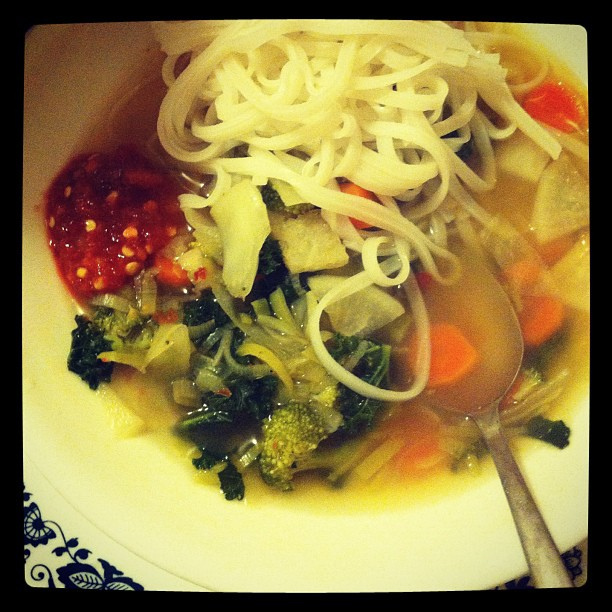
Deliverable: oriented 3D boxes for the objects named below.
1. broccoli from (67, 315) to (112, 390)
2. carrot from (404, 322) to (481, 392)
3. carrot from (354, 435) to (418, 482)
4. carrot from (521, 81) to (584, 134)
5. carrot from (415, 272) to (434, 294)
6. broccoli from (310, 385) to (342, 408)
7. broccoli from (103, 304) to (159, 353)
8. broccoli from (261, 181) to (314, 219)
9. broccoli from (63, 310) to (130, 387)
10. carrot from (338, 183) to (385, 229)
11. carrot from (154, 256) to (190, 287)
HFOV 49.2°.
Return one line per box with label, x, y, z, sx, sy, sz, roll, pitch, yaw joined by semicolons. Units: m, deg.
broccoli;-0.681;0.146;2.125;0.059;0.220;0.162;30;61;15
carrot;0.381;0.152;2.000;0.254;0.047;0.178;0;94;3
carrot;0.245;0.466;2.074;0.177;0.050;0.039;-30;92;-7
carrot;0.764;-0.627;2.123;0.197;0.038;0.131;37;90;-8
carrot;0.368;-0.075;2.105;0.063;0.067;0.044;14;86;2
broccoli;0.065;0.269;2.027;0.067;0.043;0.067;-38;55;-26
broccoli;-0.528;0.054;2.047;0.174;0.068;0.143;12;103;3
broccoli;-0.053;-0.325;2.033;0.134;0.092;0.041;27;27;-3
broccoli;-0.646;0.096;2.087;0.217;0.053;0.195;26;52;0
carrot;0.160;-0.302;2.033;0.137;0.104;0.105;8;50;12
carrot;-0.417;-0.102;2.041;0.070;0.074;0.103;-36;55;-24
